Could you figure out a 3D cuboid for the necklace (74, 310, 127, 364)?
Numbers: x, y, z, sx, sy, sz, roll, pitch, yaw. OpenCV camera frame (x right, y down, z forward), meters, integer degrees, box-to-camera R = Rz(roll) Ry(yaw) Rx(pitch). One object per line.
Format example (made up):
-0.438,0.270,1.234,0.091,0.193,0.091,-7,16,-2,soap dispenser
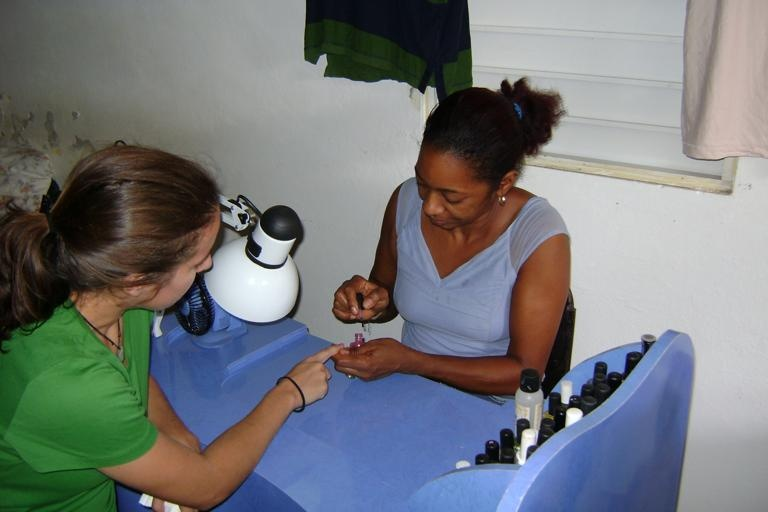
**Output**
-0.795,0.240,1.675,0.035,0.127,0.127,-42,2,-18,necklace

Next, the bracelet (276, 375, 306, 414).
-0.273,0.422,1.825,0.025,0.106,0.106,-17,7,-24,bracelet

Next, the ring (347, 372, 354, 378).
-0.111,0.394,1.935,0.024,0.025,0.006,-4,5,-6,ring

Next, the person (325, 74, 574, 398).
0.275,-0.097,2.195,0.665,1.064,0.590,-29,54,-24,person
